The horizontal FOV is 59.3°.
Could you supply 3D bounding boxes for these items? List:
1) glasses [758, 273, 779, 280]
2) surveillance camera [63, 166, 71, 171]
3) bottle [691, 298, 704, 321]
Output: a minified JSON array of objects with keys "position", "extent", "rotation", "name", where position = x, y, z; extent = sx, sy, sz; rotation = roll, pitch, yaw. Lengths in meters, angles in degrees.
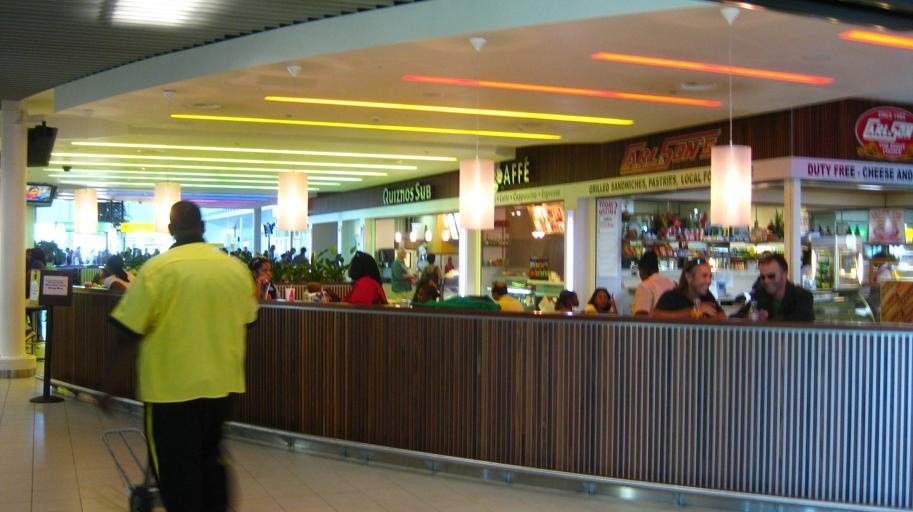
[{"position":[3.689,0.240,9.419],"extent":[0.103,0.046,0.119],"rotation":[-10,-21,43],"name":"glasses"},{"position":[-9.906,-2.212,20.252],"extent":[0.165,0.051,0.152],"rotation":[0,-5,-5],"name":"surveillance camera"},{"position":[2.950,0.663,9.847],"extent":[0.108,0.074,0.207],"rotation":[24,35,-11],"name":"bottle"}]
